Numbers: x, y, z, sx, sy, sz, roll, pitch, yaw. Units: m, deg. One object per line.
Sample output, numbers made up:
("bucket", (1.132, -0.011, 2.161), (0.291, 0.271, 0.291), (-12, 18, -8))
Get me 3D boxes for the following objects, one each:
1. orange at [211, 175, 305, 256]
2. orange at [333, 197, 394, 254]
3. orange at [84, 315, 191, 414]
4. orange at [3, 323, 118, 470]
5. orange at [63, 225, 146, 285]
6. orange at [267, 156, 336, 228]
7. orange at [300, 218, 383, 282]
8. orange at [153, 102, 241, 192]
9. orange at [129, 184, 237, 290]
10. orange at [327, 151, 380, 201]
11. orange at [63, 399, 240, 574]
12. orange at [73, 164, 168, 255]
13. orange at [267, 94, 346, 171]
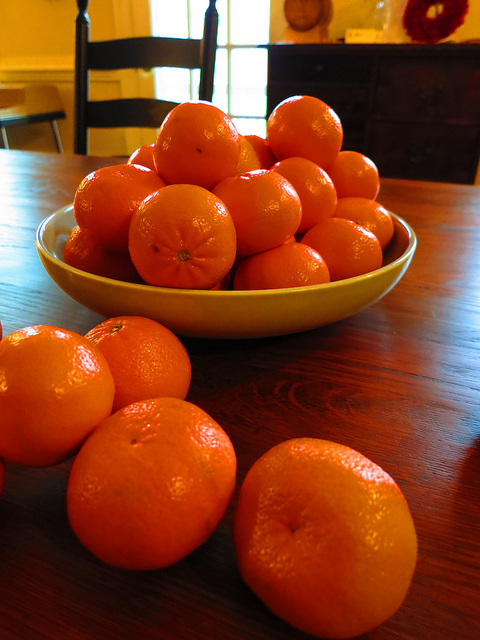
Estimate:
("orange", (0.020, -0.082, 0.478), (0.072, 0.061, 0.065), (11, 43, 13))
("orange", (0.119, -0.086, 0.555), (0.061, 0.064, 0.056), (4, 0, -7))
("orange", (-0.058, 0.022, 0.349), (0.063, 0.055, 0.059), (-2, 11, -2))
("orange", (-0.080, 0.041, 0.320), (0.074, 0.077, 0.070), (-1, -3, -4))
("orange", (-0.114, -0.053, 0.503), (0.063, 0.057, 0.058), (11, 12, 9))
("orange", (0.061, -0.110, 0.498), (0.068, 0.071, 0.062), (-3, 8, -8))
("orange", (0.088, -0.060, 0.465), (0.063, 0.056, 0.057), (-2, 6, -11))
("orange", (-0.022, -0.147, 0.502), (0.082, 0.067, 0.089), (0, -23, 2))
("orange", (-0.045, -0.052, 0.427), (0.081, 0.072, 0.073), (4, -7, -19))
("orange", (0.119, -0.156, 0.593), (0.047, 0.050, 0.044), (3, -3, -7))
("orange", (-0.043, 0.080, 0.275), (0.074, 0.057, 0.072), (16, 30, 19))
("orange", (-0.084, -0.085, 0.459), (0.065, 0.062, 0.072), (-13, -12, 37))
("orange", (0.061, -0.182, 0.567), (0.077, 0.081, 0.074), (-23, 22, -35))
